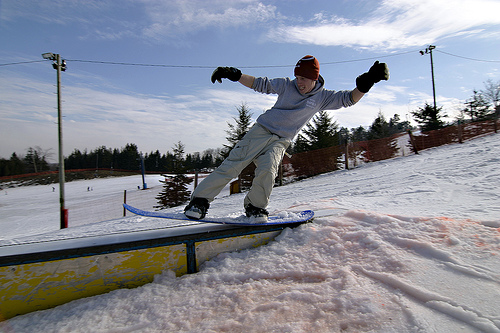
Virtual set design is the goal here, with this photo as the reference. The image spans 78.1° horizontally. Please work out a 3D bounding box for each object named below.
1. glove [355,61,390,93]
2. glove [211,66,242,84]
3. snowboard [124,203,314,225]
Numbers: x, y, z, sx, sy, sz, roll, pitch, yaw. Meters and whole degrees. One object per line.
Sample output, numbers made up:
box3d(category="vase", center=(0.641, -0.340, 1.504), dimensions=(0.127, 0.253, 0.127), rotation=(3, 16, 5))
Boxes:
box3d(category="glove", center=(1.506, -1.118, 3.811), dimensions=(0.245, 0.326, 0.332), rotation=(-1, 0, -38))
box3d(category="glove", center=(-0.303, -1.180, 4.006), dimensions=(0.329, 0.219, 0.198), rotation=(-1, 0, -37))
box3d(category="snowboard", center=(-0.213, 0.640, 3.901), dimensions=(2.277, 0.232, 0.687), rotation=(-1, 0, -10))
